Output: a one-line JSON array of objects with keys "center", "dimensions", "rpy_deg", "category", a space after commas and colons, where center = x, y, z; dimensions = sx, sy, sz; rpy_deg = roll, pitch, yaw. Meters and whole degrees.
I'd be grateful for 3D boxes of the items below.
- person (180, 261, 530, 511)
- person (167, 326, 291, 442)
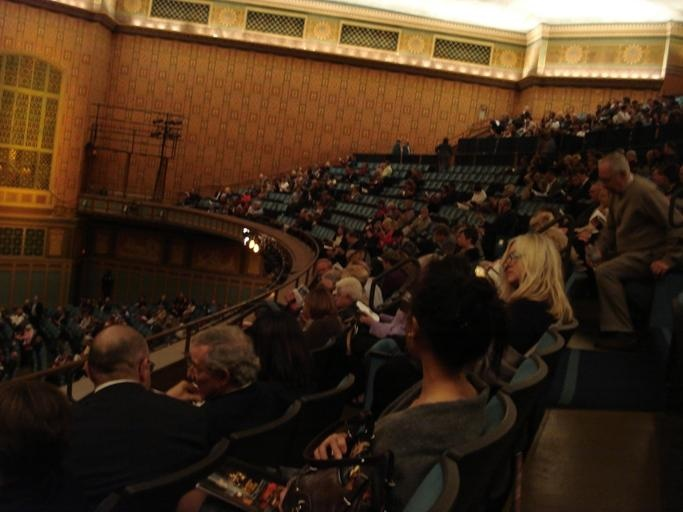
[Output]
[{"center": [0.078, 0.365, 1.644], "dimensions": [0.843, 0.996, 0.520], "rpy_deg": [6, -1, 13], "category": "person"}, {"center": [-0.534, 0.604, 2.500], "dimensions": [0.394, 0.529, 0.802], "rpy_deg": [5, 21, -7], "category": "person"}]
